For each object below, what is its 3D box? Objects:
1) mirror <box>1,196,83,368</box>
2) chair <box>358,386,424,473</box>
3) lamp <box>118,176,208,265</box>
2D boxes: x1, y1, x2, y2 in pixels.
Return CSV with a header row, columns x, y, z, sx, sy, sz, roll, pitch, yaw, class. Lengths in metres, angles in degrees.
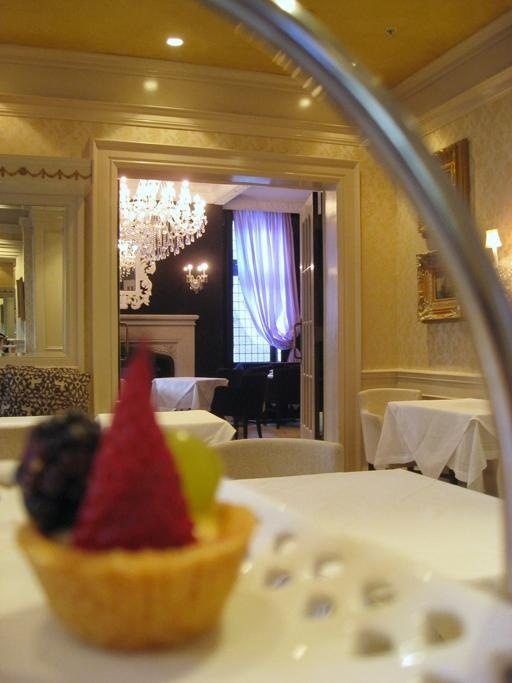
x,y,z,sx,sy,sz,roll,pitch,yaw,class
-1.635,-0.465,4.004,0.534,1.274,0.090,0,0,2,mirror
0.980,0.653,4.084,0.518,0.703,0.630,1,-6,-10,chair
-1.150,-1.489,6.312,1.263,1.090,1.500,-1,7,0,lamp
